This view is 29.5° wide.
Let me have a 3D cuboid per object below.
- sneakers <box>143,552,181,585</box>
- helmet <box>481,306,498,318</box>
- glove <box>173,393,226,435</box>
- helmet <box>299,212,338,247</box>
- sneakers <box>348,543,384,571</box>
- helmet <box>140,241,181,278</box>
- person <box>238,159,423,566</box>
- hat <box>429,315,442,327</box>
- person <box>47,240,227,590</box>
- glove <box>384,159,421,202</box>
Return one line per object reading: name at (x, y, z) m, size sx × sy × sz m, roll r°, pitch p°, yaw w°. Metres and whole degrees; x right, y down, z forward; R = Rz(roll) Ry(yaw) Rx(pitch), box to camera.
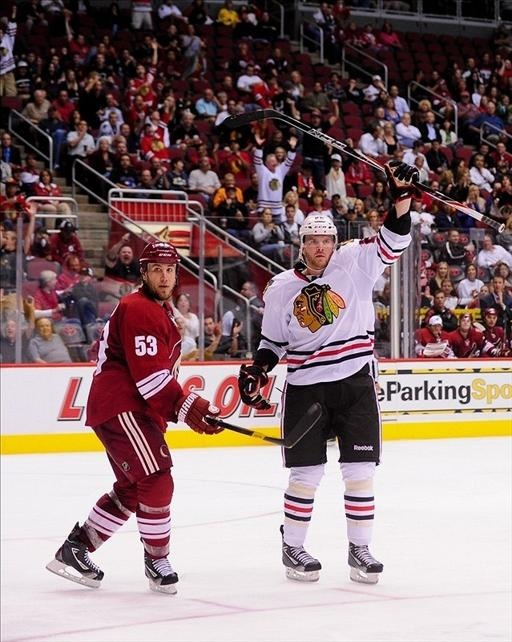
sneakers at (-0.379, 0.980, 3.840) m, size 0.111 × 0.112 × 0.139 m, roll 1°, pitch 5°, yaw -15°
helmet at (2.068, -0.053, 8.637) m, size 0.143 × 0.139 × 0.077 m, roll 2°, pitch 5°, yaw 3°
glove at (-0.223, 0.368, 3.778) m, size 0.161 × 0.166 × 0.163 m, roll 3°, pitch 5°, yaw 11°
helmet at (0.257, -0.413, 4.313) m, size 0.173 × 0.156 × 0.189 m, roll 0°, pitch 6°, yaw -1°
sneakers at (0.446, 0.986, 4.041) m, size 0.124 × 0.083 × 0.191 m, roll 2°, pitch 4°, yaw 0°
helmet at (-0.399, -0.269, 3.996) m, size 0.137 × 0.123 × 0.155 m, roll 1°, pitch 2°, yaw -24°
person at (0.267, 0.196, 4.169) m, size 0.726 × 1.753 × 0.554 m, roll 3°, pitch 5°, yaw 8°
hat at (1.585, 0.007, 8.575) m, size 0.094 × 0.051 × 0.109 m, roll 3°, pitch -28°, yaw 4°
person at (-0.468, 0.386, 3.909) m, size 0.685 × 1.404 × 0.391 m, roll 3°, pitch 5°, yaw 5°
glove at (0.631, -0.608, 4.215) m, size 0.174 × 0.171 × 0.098 m, roll -1°, pitch -12°, yaw -4°
